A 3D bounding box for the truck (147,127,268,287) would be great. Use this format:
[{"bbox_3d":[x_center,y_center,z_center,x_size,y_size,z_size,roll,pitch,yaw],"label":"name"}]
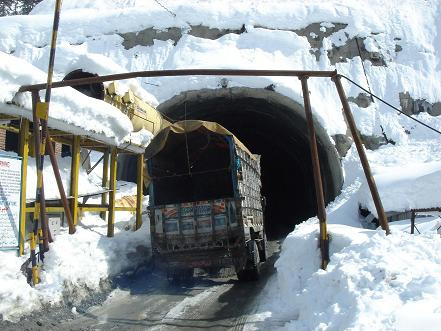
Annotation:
[{"bbox_3d":[-0.333,1.702,16.584,4.212,5.059,7.884,-7,-4,12],"label":"truck"}]
